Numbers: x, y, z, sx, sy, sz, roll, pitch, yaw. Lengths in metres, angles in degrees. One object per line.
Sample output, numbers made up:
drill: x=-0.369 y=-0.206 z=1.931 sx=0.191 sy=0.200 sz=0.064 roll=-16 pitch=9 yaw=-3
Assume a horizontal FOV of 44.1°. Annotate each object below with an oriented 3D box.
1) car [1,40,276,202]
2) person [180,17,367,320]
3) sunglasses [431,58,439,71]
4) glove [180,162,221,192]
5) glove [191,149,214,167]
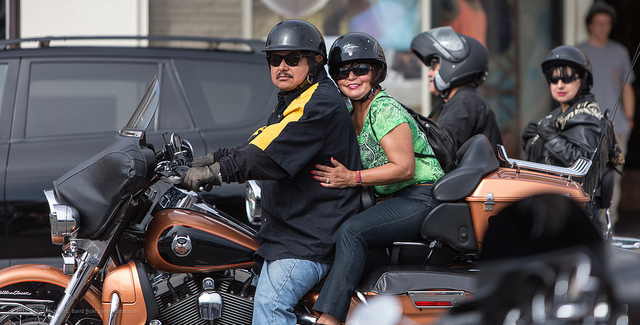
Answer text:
car: x=-2.110 y=-0.572 z=10.147 sx=3.223 sy=1.505 sz=1.808 roll=2 pitch=-2 yaw=-2
person: x=-0.319 y=0.049 z=8.093 sx=1.626 sy=3.043 sz=0.535 roll=0 pitch=0 yaw=2
sunglasses: x=1.356 y=-1.169 z=9.375 sx=0.093 sy=0.108 sz=0.112 roll=-13 pitch=26 yaw=-38
glove: x=-1.161 y=0.140 z=7.899 sx=0.313 sy=0.134 sz=0.306 roll=-11 pitch=16 yaw=16
glove: x=-1.172 y=-0.036 z=8.059 sx=0.173 sy=0.068 sz=0.166 roll=-13 pitch=-29 yaw=1
